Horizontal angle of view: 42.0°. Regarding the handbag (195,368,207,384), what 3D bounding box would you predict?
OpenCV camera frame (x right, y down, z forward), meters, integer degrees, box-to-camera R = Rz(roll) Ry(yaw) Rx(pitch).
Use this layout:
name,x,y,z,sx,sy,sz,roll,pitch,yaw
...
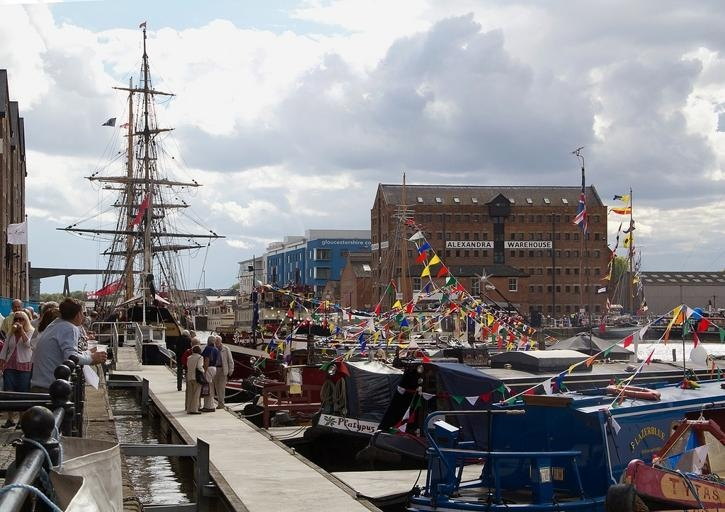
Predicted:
name,x,y,z,sx,sy,sz,roll,pitch,yaw
handbag,-4.557,3.356,26.629,0.345,0.409,0.193,2,-3,-34

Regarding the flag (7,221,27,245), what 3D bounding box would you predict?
name,x,y,z,sx,sy,sz,roll,pitch,yaw
flag,-16.059,-1.081,43.836,0.731,1.130,3.824,1,-4,-22

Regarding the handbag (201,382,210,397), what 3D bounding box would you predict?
name,x,y,z,sx,sy,sz,roll,pitch,yaw
handbag,-4.628,3.911,27.816,0.358,0.494,0.115,3,-4,-21

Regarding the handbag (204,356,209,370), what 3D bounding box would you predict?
name,x,y,z,sx,sy,sz,roll,pitch,yaw
handbag,-4.468,3.023,26.932,0.135,0.328,0.267,0,-3,-13

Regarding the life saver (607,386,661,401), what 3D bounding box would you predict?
name,x,y,z,sx,sy,sz,roll,pitch,yaw
life saver,5.013,2.471,17.214,0.707,0.144,0.421,8,-9,-13

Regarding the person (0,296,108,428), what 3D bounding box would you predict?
name,x,y,z,sx,sy,sz,roll,pitch,yaw
person,-4.289,1.263,13.625,0.903,1.343,1.125,1,-3,-27
